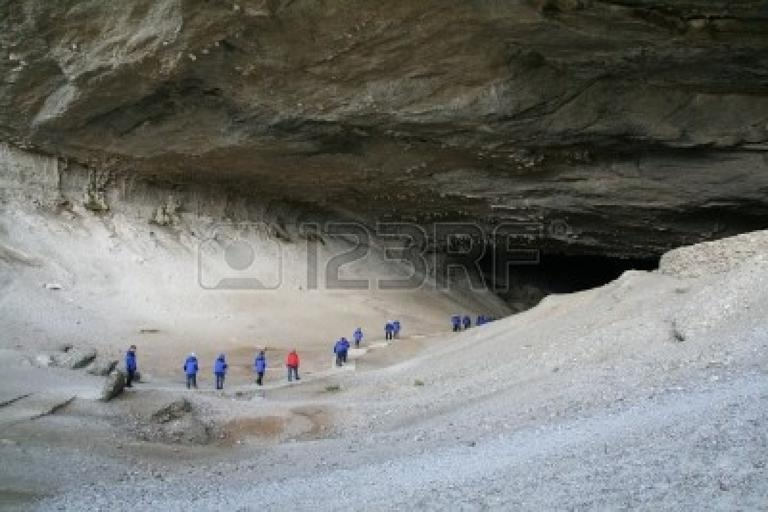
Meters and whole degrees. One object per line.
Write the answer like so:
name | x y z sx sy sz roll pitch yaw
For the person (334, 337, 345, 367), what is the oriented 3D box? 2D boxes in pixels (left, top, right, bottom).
person | -1.134 2.564 20.882 0.294 0.756 0.588 10 -11 -2

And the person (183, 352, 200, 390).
person | -4.501 2.708 18.481 0.380 0.828 0.873 12 -11 -12

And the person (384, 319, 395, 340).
person | 0.197 2.418 25.485 0.340 0.613 0.718 9 -10 1

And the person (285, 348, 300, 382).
person | -2.196 2.715 19.383 0.375 0.776 0.936 10 -10 -4

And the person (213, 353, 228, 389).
person | -3.817 2.731 18.442 0.296 0.804 0.880 12 -11 -9
